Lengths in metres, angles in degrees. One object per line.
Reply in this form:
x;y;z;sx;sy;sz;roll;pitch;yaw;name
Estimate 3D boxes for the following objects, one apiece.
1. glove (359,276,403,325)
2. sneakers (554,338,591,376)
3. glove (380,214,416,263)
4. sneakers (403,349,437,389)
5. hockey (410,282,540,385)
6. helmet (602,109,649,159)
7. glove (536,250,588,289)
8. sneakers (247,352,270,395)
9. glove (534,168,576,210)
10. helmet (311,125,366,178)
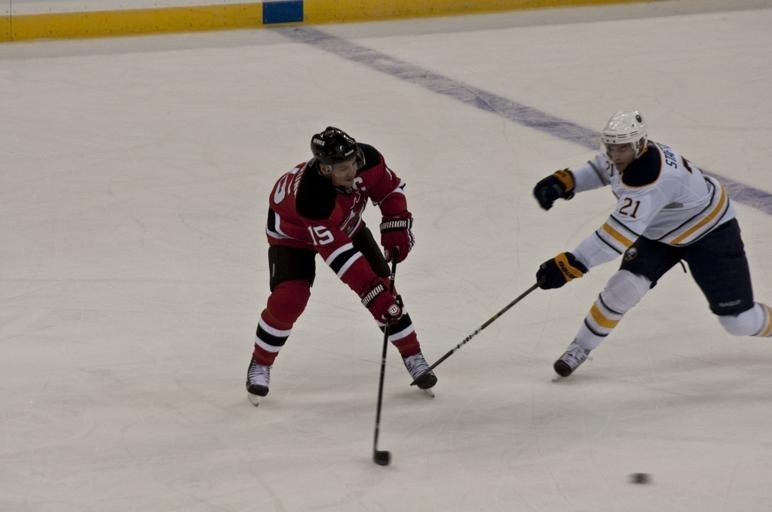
-0.025;0.282;6.369;0.293;0.125;0.247;42;50;-10;glove
1.157;0.648;6.696;0.160;0.280;0.110;46;-8;16;sneakers
0.076;-0.114;6.659;0.234;0.275;0.116;-2;8;19;glove
0.188;0.697;6.623;0.125;0.108;0.307;48;4;-39;sneakers
0.586;0.534;6.928;0.146;0.945;0.074;27;36;-37;hockey
1.413;-0.706;6.369;0.267;0.280;0.340;14;30;41;helmet
1.030;0.111;6.580;0.332;0.079;0.192;-34;96;-39;glove
-0.795;0.719;6.496;0.096;0.108;0.270;19;30;-26;sneakers
1.086;-0.430;6.800;0.132;0.294;0.203;38;26;-56;glove
-0.284;-0.603;6.270;0.309;0.282;0.250;22;48;40;helmet
